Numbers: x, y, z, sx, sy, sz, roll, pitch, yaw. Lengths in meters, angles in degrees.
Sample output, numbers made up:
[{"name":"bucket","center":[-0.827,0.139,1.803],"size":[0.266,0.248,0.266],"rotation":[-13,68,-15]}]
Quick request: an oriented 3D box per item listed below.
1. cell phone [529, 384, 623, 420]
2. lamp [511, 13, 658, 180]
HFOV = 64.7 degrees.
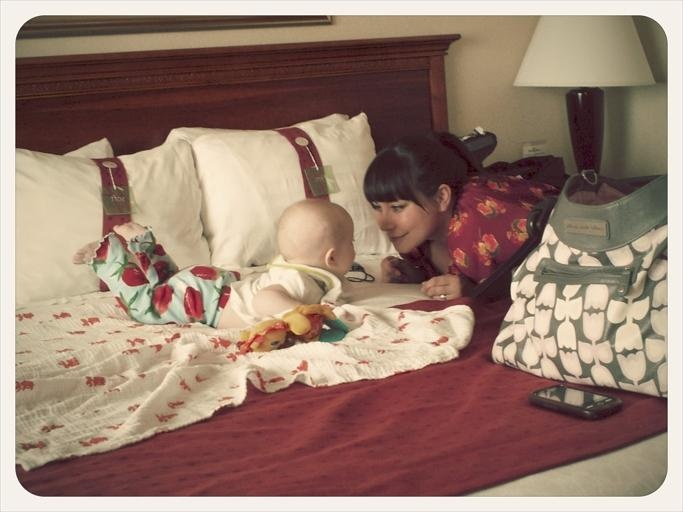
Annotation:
[{"name":"cell phone","center":[0.401,0.238,0.925],"size":[0.089,0.019,0.063],"rotation":[7,11,39]},{"name":"lamp","center":[1.039,-0.632,2.268],"size":[0.596,0.611,0.553],"rotation":[-1,11,15]}]
